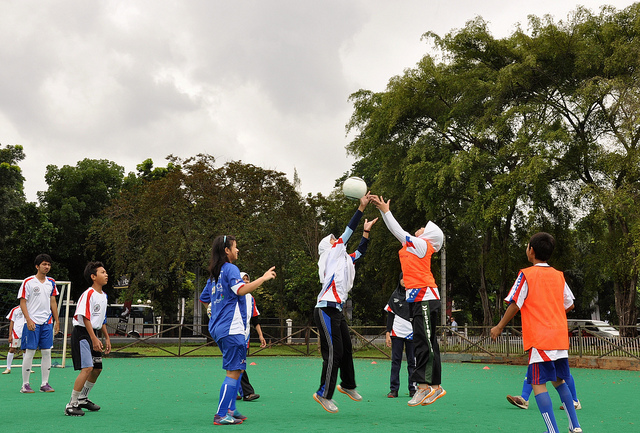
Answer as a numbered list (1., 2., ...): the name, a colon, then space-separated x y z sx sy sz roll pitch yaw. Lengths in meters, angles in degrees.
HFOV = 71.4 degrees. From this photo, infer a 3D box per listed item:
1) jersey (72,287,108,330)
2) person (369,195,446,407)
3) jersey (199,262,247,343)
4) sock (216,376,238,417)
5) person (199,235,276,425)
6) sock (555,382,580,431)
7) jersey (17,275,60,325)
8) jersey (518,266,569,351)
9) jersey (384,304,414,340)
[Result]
1. jersey: -3.853 1.586 7.579 0.343 0.724 0.820 2 -17 8
2. person: 1.545 1.366 7.232 1.212 3.273 0.575 10 -17 -36
3. jersey: -1.349 1.216 6.430 0.524 1.105 0.512 1 -14 -5
4. sock: -1.322 2.530 6.313 0.183 0.545 0.342 12 -19 -41
5. person: -1.254 1.598 6.433 0.731 2.667 1.322 9 -17 -33
6. sock: 3.169 2.440 5.742 0.184 0.613 0.382 -8 -16 27
7. jersey: -6.121 1.797 9.623 0.440 1.026 0.910 -1 -14 3
8. jersey: 2.889 1.165 5.773 0.625 1.080 0.304 -3 -14 11
9. jersey: 1.582 2.160 9.507 0.531 0.953 0.968 -7 -20 18
